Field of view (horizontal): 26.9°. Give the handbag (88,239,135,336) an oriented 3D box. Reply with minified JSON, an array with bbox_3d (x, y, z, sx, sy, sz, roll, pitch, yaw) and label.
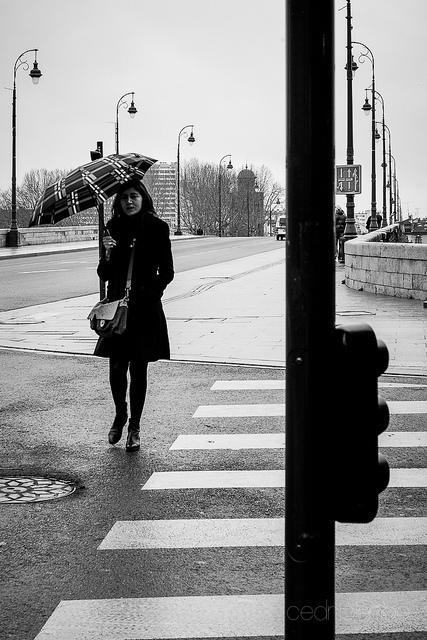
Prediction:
[{"bbox_3d":[-0.719,-0.223,6.100,0.323,0.626,0.339,1,4,16],"label":"handbag"}]

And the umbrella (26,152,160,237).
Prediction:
[{"bbox_3d":[-0.845,-0.925,6.226,0.839,0.518,0.651,-1,5,-10],"label":"umbrella"}]

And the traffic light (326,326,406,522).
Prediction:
[{"bbox_3d":[0.348,0.238,2.060,0.086,0.456,0.241,3,5,39],"label":"traffic light"}]
